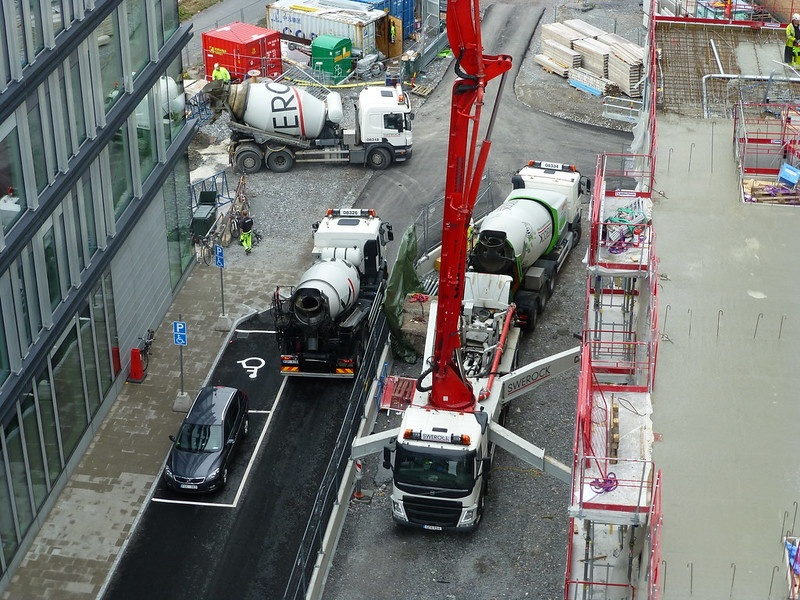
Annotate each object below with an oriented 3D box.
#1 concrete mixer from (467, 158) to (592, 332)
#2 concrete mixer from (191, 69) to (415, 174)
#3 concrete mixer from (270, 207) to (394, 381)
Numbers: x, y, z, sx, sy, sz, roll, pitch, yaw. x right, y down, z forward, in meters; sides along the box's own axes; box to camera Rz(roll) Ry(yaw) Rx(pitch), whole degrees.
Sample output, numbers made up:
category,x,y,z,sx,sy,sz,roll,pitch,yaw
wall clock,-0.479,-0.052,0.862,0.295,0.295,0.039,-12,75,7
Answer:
category,x,y,z,sx,sy,sz,roll,pitch,yaw
concrete mixer,4.228,-3.032,40.523,2.995,3.716,8.594,8,43,24
concrete mixer,-4.346,-8.695,50.686,9.812,4.603,4.035,-2,53,-1
concrete mixer,-2.154,-0.603,38.159,2.859,3.792,7.797,2,25,13
